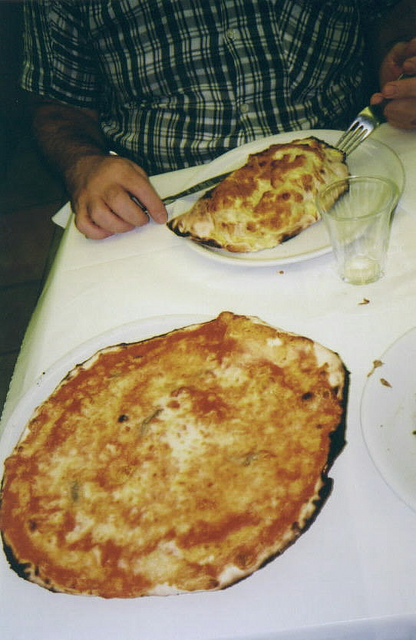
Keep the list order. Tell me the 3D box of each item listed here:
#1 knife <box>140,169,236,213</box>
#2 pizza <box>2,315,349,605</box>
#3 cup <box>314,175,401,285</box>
[{"bbox_3d":[-0.049,-0.215,1.041,0.225,0.020,0.023,-16,44,41],"label":"knife"},{"bbox_3d":[-0.038,0.144,0.720,0.367,0.041,0.399,13,52,23],"label":"pizza"},{"bbox_3d":[0.219,-0.110,0.850,0.100,0.103,0.098,-6,-5,-1],"label":"cup"}]
